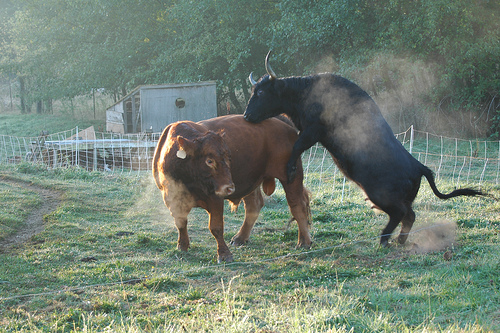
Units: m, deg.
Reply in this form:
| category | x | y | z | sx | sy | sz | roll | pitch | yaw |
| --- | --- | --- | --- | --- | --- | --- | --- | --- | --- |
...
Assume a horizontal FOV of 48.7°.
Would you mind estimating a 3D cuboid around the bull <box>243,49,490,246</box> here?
| category | x | y | z | sx | sy | sz | roll | pitch | yaw |
| --- | --- | --- | --- | --- | --- | --- | --- | --- | --- |
| bull | 2.718 | -0.298 | 14.694 | 6.907 | 3.179 | 1.558 | 35 | 22 | 20 |

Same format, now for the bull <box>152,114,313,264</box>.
| category | x | y | z | sx | sy | sz | roll | pitch | yaw |
| --- | --- | --- | --- | --- | --- | --- | --- | --- | --- |
| bull | -0.625 | 0.662 | 15.291 | 3.393 | 4.209 | 7.918 | 0 | -3 | 1 |
